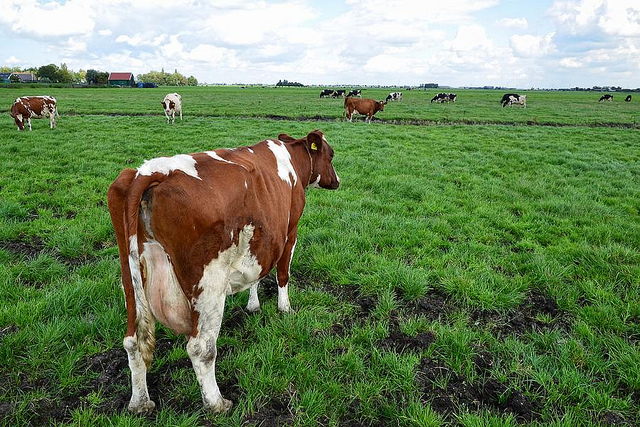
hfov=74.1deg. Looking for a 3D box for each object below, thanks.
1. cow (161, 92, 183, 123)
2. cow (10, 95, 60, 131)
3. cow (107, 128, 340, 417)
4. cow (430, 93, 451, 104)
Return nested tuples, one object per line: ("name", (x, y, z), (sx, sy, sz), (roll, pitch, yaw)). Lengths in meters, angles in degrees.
("cow", (-8.586, -6.427, 25.671), (2.133, 1.207, 0.649), (-1, 8, 33))
("cow", (-14.055, -4.909, 20.779), (0.639, 1.472, 2.715), (6, 20, 10))
("cow", (-1.194, 0.905, 5.573), (1.202, 2.356, 3.721), (4, 14, 22))
("cow", (14.426, -13.867, 50.666), (2.036, 0.991, 1.614), (5, 17, 11))
